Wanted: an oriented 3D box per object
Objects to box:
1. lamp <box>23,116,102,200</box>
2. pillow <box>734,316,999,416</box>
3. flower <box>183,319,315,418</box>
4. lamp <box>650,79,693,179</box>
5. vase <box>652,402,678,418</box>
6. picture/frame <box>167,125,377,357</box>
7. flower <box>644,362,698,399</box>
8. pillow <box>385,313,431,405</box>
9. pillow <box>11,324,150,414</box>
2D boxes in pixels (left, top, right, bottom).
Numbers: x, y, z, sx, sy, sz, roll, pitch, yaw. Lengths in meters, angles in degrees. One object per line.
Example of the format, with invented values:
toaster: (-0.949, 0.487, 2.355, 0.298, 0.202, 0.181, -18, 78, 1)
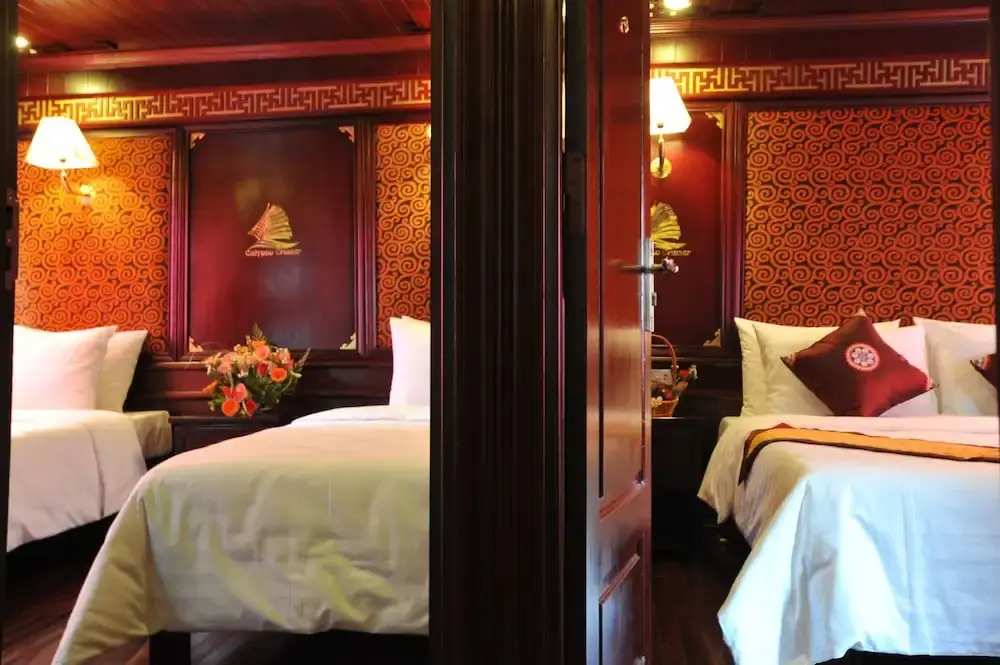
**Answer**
lamp: (-3.004, -1.210, 5.282, 0.384, 0.584, 0.440, 7, 11, 11)
pillow: (2.221, 0.230, 4.624, 1.488, 0.593, 0.520, 0, 5, 10)
flower: (-1.638, 0.220, 5.262, 0.534, 0.455, 0.610, 7, 5, 2)
lamp: (1.080, -1.324, 4.842, 0.242, 0.661, 0.481, 1, 5, 15)
vase: (0.985, 0.462, 4.599, 0.112, 0.065, 0.145, 1, 3, 14)
picture/frame: (-1.538, -0.600, 5.342, 1.449, 1.864, 0.098, 0, -2, 3)
flower: (1.062, 0.307, 4.805, 0.112, 0.262, 0.328, 13, 4, -9)
pillow: (-0.578, 0.184, 4.882, 0.253, 0.522, 0.616, -1, 5, -8)
pillow: (-2.776, 0.258, 5.072, 0.788, 0.565, 0.505, -4, 6, -33)
